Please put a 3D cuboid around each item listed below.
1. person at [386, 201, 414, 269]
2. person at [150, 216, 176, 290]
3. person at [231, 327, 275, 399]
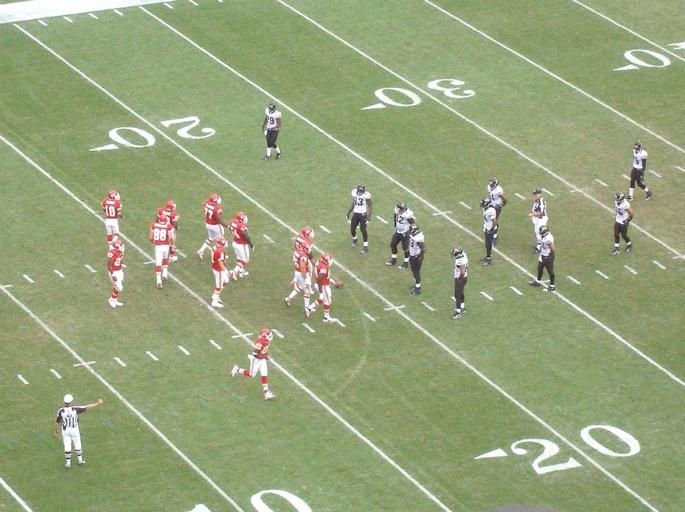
[{"bbox_3d":[1.653,-0.616,50.145,0.673,1.773,0.917,-10,16,-36],"label":"person"},{"bbox_3d":[-4.896,-0.234,49.354,0.827,1.783,0.569,3,0,-17],"label":"person"},{"bbox_3d":[-2.024,2.635,45.273,1.551,1.581,0.907,17,12,38],"label":"person"}]
